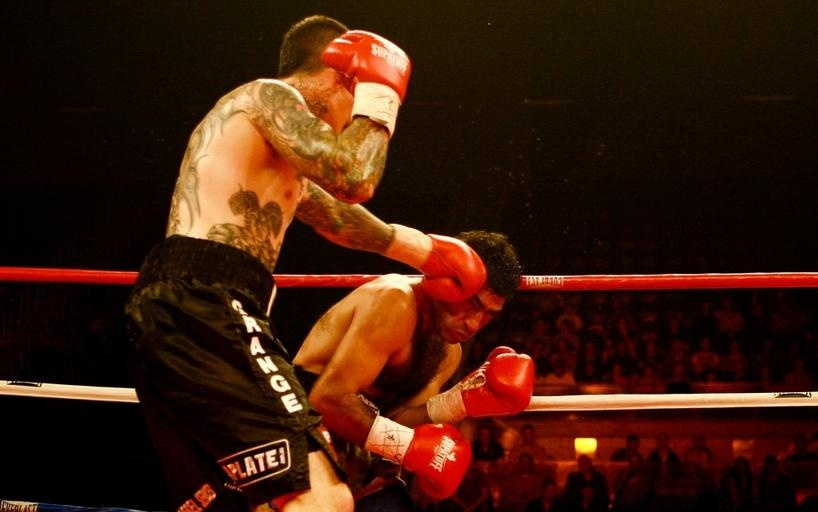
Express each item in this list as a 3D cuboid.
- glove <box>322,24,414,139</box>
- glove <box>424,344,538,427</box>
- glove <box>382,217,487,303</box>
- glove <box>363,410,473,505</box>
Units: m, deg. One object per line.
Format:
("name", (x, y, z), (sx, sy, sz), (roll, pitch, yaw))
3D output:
("glove", (-0.231, -1.127, 4.911), (0.543, 0.671, 0.295), (26, -1, 2))
("glove", (0.531, 0.951, 5.378), (0.867, 0.371, 0.577), (-21, 9, 20))
("glove", (0.154, 0.035, 5.041), (0.714, 0.424, 0.295), (11, -26, 2))
("glove", (0.106, 1.363, 5.219), (0.465, 0.550, 0.627), (-11, 0, -33))
